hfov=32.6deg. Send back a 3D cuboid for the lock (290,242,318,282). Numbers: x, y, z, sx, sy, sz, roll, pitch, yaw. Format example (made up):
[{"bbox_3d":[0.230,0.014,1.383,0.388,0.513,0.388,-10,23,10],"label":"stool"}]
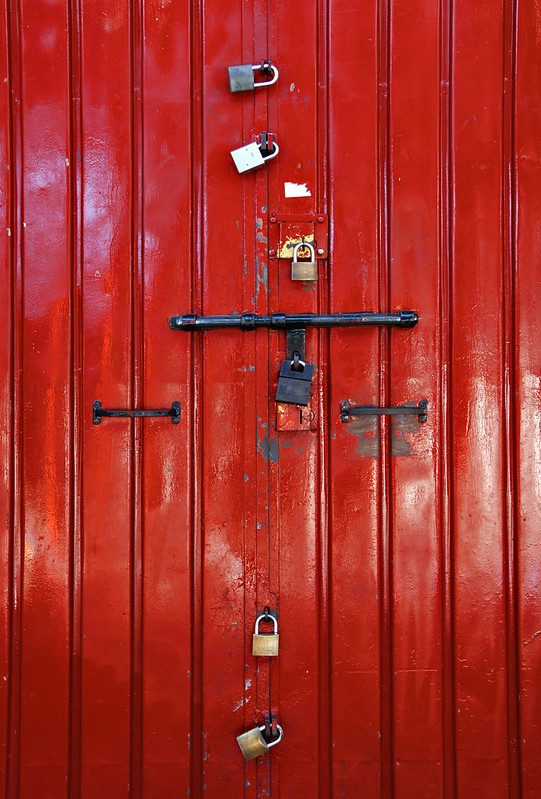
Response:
[{"bbox_3d":[0.098,-0.411,2.740,0.086,0.181,0.031,0,-2,1],"label":"lock"}]

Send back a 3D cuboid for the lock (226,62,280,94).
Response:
[{"bbox_3d":[-0.048,-0.942,2.736,0.123,0.095,0.057,-5,-6,-8],"label":"lock"}]

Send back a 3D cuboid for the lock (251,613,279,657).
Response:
[{"bbox_3d":[-0.014,0.691,2.715,0.080,0.143,0.083,0,1,1],"label":"lock"}]

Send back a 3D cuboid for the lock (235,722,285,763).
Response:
[{"bbox_3d":[-0.027,0.997,2.698,0.089,0.056,0.099,-5,-38,-42],"label":"lock"}]

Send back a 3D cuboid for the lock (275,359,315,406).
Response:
[{"bbox_3d":[0.072,-0.051,2.737,0.083,0.148,0.017,11,-3,6],"label":"lock"}]
